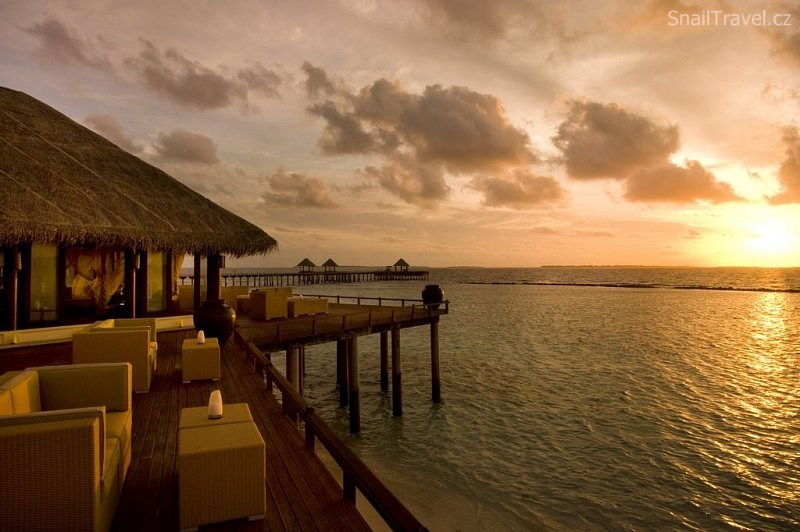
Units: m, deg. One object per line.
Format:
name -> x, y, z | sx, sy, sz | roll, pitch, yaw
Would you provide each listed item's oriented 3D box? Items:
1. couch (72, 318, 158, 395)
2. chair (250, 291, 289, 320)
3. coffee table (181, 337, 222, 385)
couch -> -8.056, 2.472, 15.935 | 2.067, 1.621, 3.403 | 2, 0, -17
chair -> -5.371, 1.594, 23.235 | 1.318, 1.088, 1.265 | -3, 4, -37
coffee table -> -5.480, 2.648, 15.619 | 1.211, 1.010, 1.158 | 1, 5, -16
